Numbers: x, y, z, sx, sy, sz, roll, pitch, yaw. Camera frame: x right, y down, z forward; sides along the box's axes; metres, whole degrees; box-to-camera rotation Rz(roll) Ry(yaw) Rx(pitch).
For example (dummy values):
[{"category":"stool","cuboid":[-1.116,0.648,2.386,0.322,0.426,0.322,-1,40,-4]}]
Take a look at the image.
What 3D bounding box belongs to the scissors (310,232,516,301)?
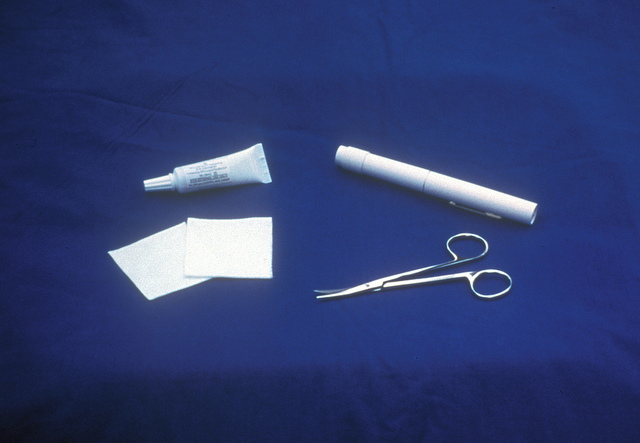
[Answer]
[{"category":"scissors","cuboid":[0.217,0.117,1.534,0.333,0.193,0.014,-9,-38,-3]}]
